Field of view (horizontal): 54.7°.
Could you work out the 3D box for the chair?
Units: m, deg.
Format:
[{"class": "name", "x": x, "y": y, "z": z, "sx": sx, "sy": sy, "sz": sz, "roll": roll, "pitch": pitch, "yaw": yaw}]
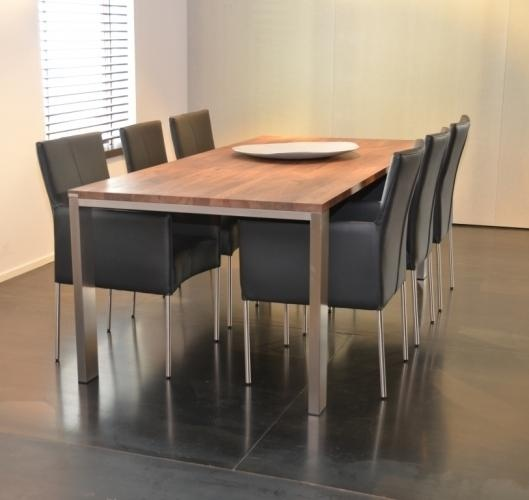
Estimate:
[{"class": "chair", "x": -0.055, "y": -0.096, "z": 2.479, "sx": 1.717, "sy": 1.081, "sz": 1.648, "roll": 2, "pitch": 11, "yaw": 8}]
